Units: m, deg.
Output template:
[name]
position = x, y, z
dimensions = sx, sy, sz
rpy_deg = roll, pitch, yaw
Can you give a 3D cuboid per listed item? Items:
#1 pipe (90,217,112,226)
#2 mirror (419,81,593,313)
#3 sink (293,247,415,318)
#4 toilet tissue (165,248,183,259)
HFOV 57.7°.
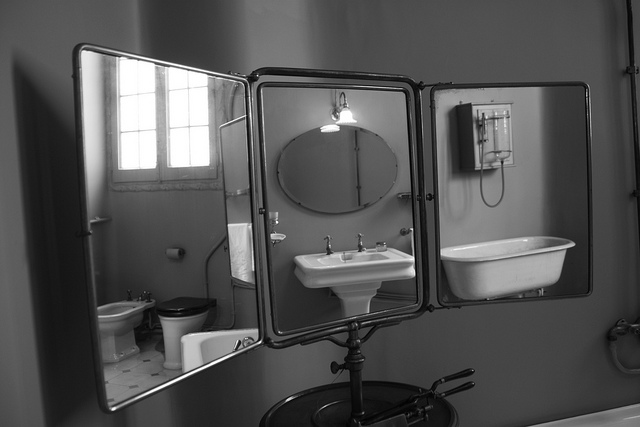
[pipe]
position = -0.781, 0.025, 2.060
dimensions = 0.019, 0.022, 0.112
rpy_deg = 6, 14, 33
[mirror]
position = 0.857, -0.095, 2.663
dimensions = 1.029, 1.293, 0.099
rpy_deg = -1, 0, -8
[sink]
position = 0.145, 0.334, 2.570
dimensions = 0.507, 0.275, 0.266
rpy_deg = -3, 7, -21
[toilet tissue]
position = -0.561, 0.153, 2.217
dimensions = 0.051, 0.037, 0.038
rpy_deg = 0, -2, -8
